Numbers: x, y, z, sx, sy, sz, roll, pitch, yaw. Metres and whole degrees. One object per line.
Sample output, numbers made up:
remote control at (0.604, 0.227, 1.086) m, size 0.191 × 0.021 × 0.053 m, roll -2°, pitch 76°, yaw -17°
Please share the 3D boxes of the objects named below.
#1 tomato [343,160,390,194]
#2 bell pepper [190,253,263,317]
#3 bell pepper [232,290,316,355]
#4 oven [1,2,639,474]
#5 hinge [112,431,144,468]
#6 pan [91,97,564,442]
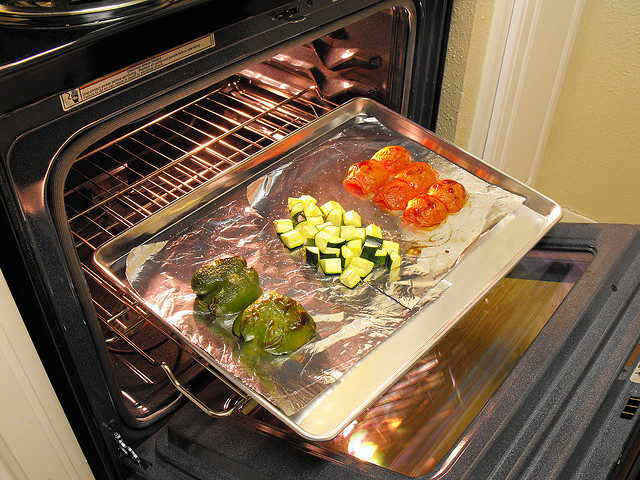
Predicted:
tomato at (0.119, -0.165, 1.133) m, size 0.078 × 0.035 × 0.095 m, roll 14°, pitch 48°, yaw 23°
bell pepper at (-0.190, 0.088, 0.929) m, size 0.130 × 0.053 × 0.142 m, roll 36°, pitch 43°, yaw 24°
bell pepper at (-0.086, 0.156, 0.870) m, size 0.172 × 0.047 × 0.166 m, roll -14°, pitch 39°, yaw -35°
oven at (-0.014, -0.001, 0.928) m, size 0.751 × 0.378 × 0.998 m, roll -29°, pitch 54°, yaw -26°
hinge at (-0.387, 0.415, 0.882) m, size 0.024 × 0.100 × 0.033 m, roll -46°, pitch 29°, yaw -18°
pan at (0.061, -0.018, 1.020) m, size 0.788 × 0.078 × 0.630 m, roll -36°, pitch 61°, yaw -24°
